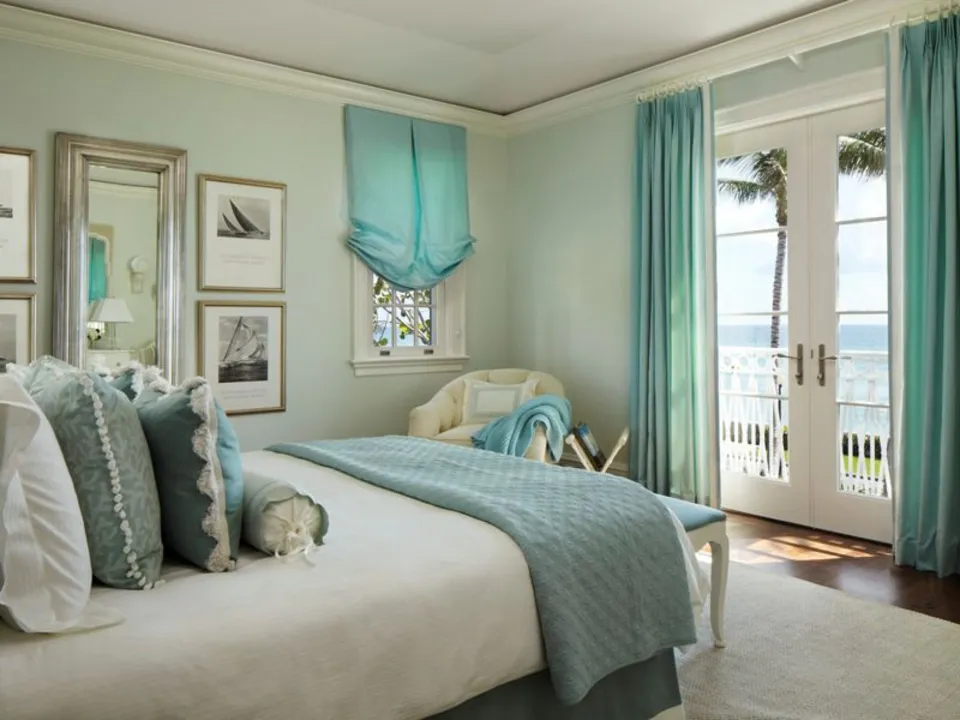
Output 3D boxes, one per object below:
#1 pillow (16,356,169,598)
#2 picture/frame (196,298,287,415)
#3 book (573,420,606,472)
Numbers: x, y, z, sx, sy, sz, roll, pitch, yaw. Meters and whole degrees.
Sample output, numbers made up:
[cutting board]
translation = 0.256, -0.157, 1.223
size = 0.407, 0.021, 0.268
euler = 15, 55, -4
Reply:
[pillow]
translation = -1.056, 0.342, 1.890
size = 0.182, 0.392, 0.529
euler = -4, 6, -32
[picture/frame]
translation = -1.570, -0.045, 4.498
size = 0.697, 1.062, 0.037
euler = -2, 4, -34
[book]
translation = 0.756, 0.573, 4.747
size = 0.104, 0.448, 0.115
euler = -41, 29, -20
